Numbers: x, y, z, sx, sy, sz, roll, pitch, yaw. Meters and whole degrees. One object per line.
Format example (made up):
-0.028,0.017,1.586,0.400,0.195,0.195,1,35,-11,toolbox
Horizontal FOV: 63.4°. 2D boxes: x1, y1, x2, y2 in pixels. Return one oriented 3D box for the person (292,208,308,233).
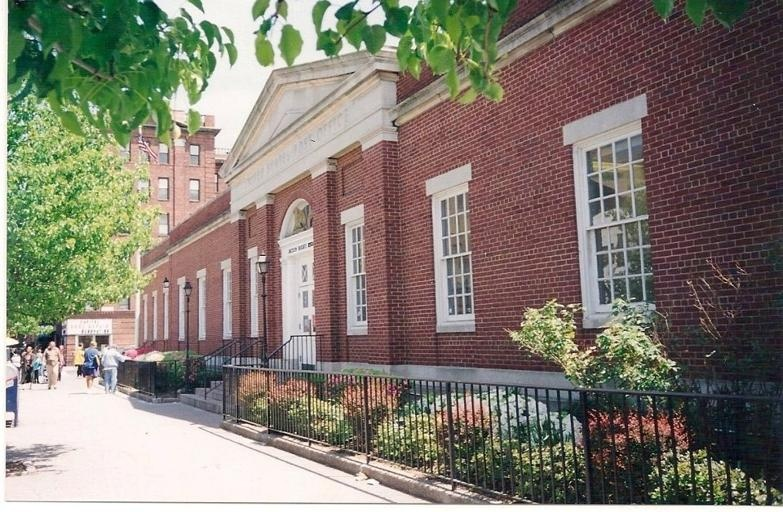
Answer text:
-2.990,-1.199,20.734,0.341,0.970,0.742,6,-10,-39,person
